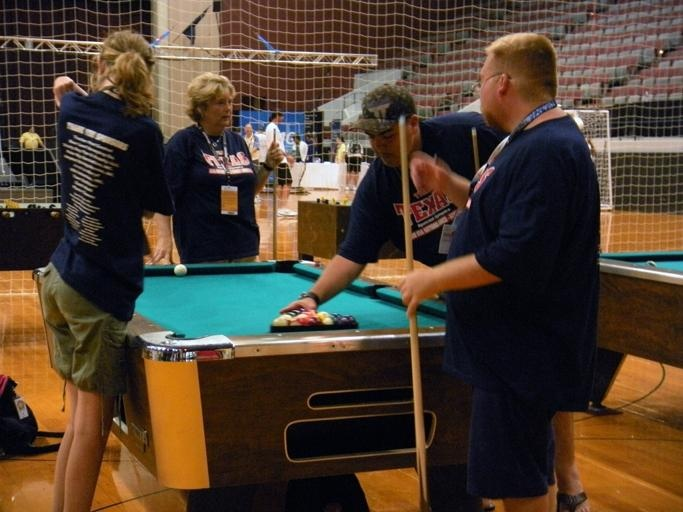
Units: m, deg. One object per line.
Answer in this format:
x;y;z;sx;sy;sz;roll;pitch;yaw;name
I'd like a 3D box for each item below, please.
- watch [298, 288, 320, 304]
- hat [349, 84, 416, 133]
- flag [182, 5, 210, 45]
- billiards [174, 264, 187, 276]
-0.122;0.154;2.530;0.073;0.048;0.067;13;-22;47;watch
0.148;-0.521;2.331;0.189;0.148;0.258;9;23;36;hat
-2.560;-3.962;11.489;0.272;0.907;0.017;40;-18;-17;flag
-0.797;0.071;3.290;0.051;0.057;0.051;-11;-21;-7;billiards
